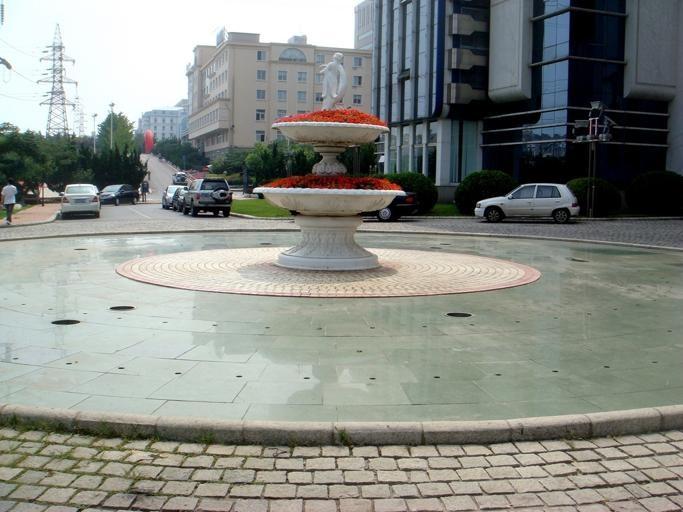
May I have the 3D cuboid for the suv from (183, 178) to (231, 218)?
[{"bbox_3d":[-8.680,-3.799,32.351,2.678,1.842,4.710,-2,6,-25],"label":"suv"}]

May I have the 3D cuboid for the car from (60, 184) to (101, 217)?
[{"bbox_3d":[-16.162,-3.434,30.889,2.057,2.045,2.669,-5,9,-25],"label":"car"}]

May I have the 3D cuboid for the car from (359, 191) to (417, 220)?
[{"bbox_3d":[3.230,-2.787,28.068,2.075,1.634,1.042,-5,10,-30],"label":"car"}]

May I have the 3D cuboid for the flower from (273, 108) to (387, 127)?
[{"bbox_3d":[-0.167,-3.490,12.420,2.517,0.574,1.256,0,7,1],"label":"flower"}]

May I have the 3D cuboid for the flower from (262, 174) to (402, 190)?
[{"bbox_3d":[-0.173,-1.743,11.643,3.024,0.381,1.235,-1,7,-6],"label":"flower"}]
